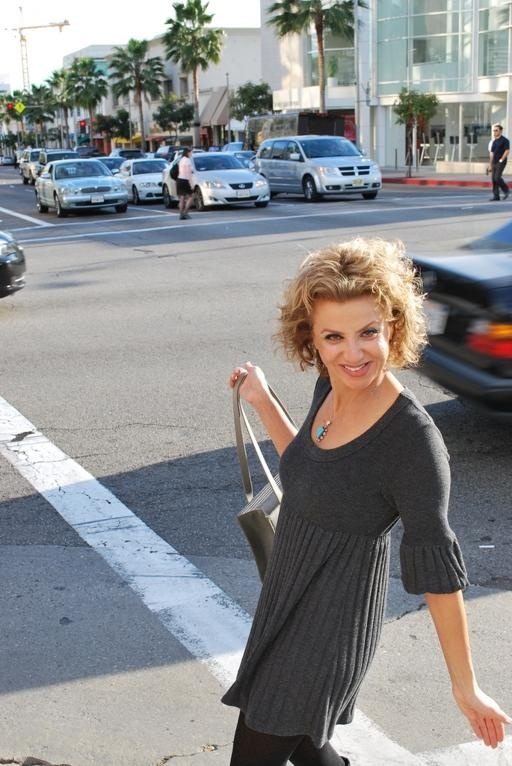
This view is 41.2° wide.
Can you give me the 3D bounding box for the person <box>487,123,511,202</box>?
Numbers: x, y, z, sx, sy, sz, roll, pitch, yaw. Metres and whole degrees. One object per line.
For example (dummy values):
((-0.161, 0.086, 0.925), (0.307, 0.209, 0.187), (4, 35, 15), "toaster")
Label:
((8.317, -7.557, 23.338), (0.630, 2.559, 1.245), (3, 13, 18), "person")
